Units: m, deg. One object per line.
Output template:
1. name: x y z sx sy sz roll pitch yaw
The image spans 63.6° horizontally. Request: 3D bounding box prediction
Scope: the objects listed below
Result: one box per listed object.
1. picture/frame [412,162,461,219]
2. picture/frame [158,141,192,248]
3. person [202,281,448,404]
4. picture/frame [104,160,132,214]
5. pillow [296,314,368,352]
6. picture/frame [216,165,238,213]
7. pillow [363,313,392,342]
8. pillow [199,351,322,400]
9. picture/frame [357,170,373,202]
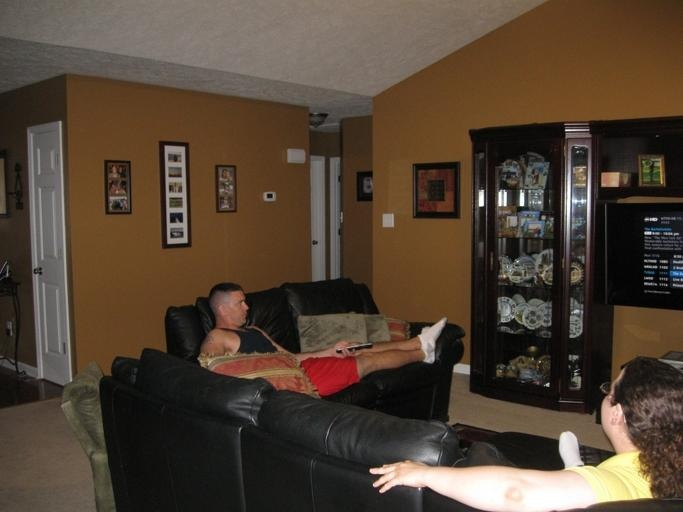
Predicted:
1. picture/frame: 0.973 -0.661 5.516 0.562 0.624 0.046 2 4 32
2. picture/frame: -1.667 -0.611 5.494 0.035 1.029 0.382 5 8 28
3. person: -0.090 0.544 3.761 1.689 0.792 0.716 1 -2 -19
4. picture/frame: -2.072 -0.629 5.086 0.051 0.497 0.259 7 11 40
5. pillow: -0.086 0.581 4.277 0.407 0.315 0.098 -2 -24 -12
6. picture/frame: -1.244 -0.717 5.906 0.019 0.492 0.282 4 8 35
7. pillow: 0.286 0.587 4.452 0.188 0.177 0.050 0 -29 -15
8. pillow: -0.464 0.663 3.239 0.459 0.125 0.457 10 3 -20
9. picture/frame: 0.301 -0.934 7.449 0.254 0.406 0.035 7 11 41
